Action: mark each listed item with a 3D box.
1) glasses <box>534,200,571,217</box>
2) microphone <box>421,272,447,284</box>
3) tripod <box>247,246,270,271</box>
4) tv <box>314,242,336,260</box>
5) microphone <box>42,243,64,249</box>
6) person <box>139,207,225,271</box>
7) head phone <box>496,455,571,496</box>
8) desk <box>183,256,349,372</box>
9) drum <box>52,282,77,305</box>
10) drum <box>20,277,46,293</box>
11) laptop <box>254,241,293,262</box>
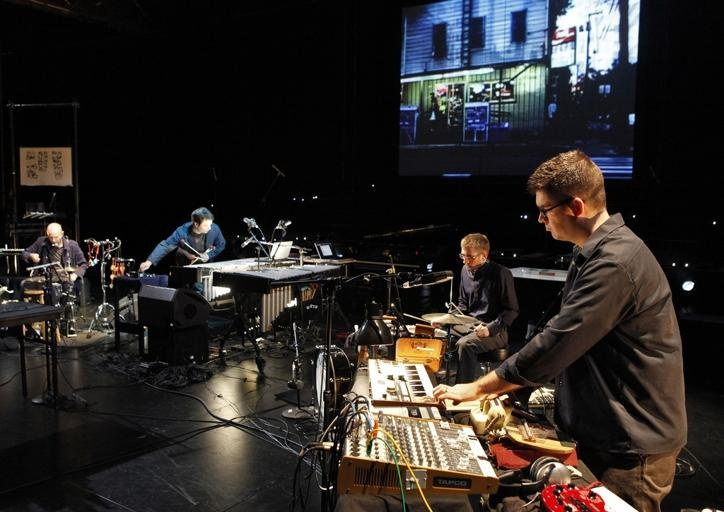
[{"bbox_3d":[1.017,-0.262,2.917,0.101,0.027,0.098,-24,1,-3],"label":"glasses"},{"bbox_3d":[0.510,0.150,3.926,0.112,0.082,0.196,-15,-9,19],"label":"microphone"},{"bbox_3d":[-1.420,0.032,7.473,0.330,0.400,0.412,1,6,-3],"label":"tripod"},{"bbox_3d":[-0.557,-0.047,7.869,0.218,0.202,0.305,-4,-1,40],"label":"tv"},{"bbox_3d":[-4.597,-0.153,8.181,0.154,0.066,0.119,-9,3,12],"label":"microphone"},{"bbox_3d":[-2.533,-0.271,7.822,0.924,0.778,0.886,-1,14,-5],"label":"person"},{"bbox_3d":[0.859,1.074,2.803,0.288,0.113,0.221,-5,-7,-19],"label":"head phone"},{"bbox_3d":[-1.344,0.772,7.141,1.331,1.172,1.744,5,7,25],"label":"desk"},{"bbox_3d":[-4.210,0.500,7.741,0.289,0.130,0.388,9,9,-19],"label":"drum"},{"bbox_3d":[-4.408,0.377,7.353,0.297,0.113,0.232,1,3,21],"label":"drum"},{"bbox_3d":[-1.254,-0.087,7.606,0.362,0.262,0.425,17,12,39],"label":"laptop"}]
